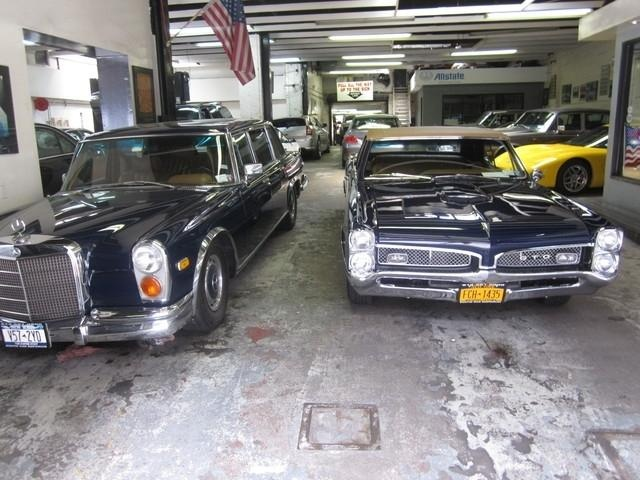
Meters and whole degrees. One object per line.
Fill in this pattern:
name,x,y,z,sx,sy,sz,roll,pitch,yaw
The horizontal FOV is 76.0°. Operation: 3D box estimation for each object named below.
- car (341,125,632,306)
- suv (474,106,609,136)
car,1.307,-0.302,4.205,2.198,1.584,2.389,-2,18,2
suv,6.091,-3.070,10.568,2.561,0.768,1.210,-3,27,1
